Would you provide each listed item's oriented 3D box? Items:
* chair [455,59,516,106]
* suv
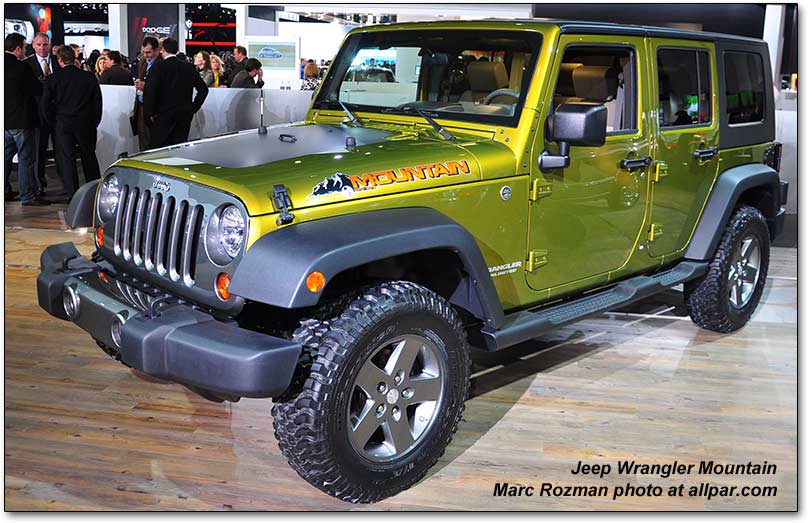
[{"bbox_3d":[0.577,-1.217,4.012,0.440,0.409,0.454,7,19,28],"label":"chair"},{"bbox_3d":[0.595,-0.711,4.996,6.233,2.407,3.019,-18,27,-39],"label":"suv"}]
